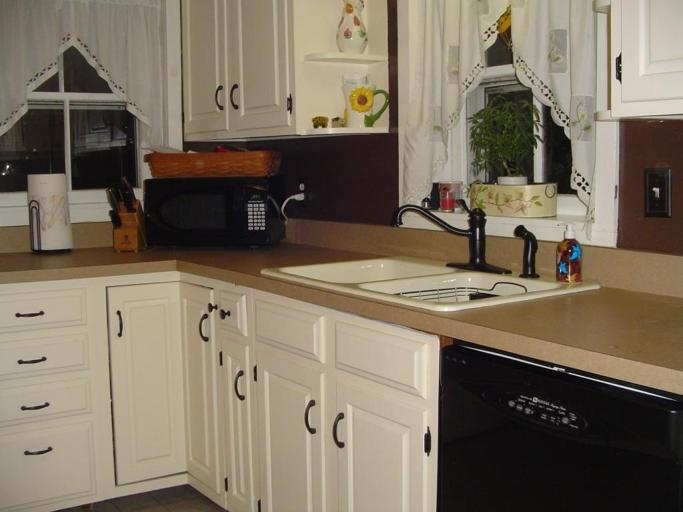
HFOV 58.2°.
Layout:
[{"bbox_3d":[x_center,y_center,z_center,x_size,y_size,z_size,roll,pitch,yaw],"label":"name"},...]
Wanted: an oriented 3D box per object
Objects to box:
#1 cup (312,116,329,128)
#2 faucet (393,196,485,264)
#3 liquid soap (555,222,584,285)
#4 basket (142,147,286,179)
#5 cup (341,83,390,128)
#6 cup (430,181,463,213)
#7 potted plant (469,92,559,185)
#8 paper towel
[{"bbox_3d":[-0.095,-0.583,2.676,0.054,0.045,0.054,0,3,0],"label":"cup"},{"bbox_3d":[0.350,-0.081,2.240,0.294,0.223,0.206,3,-1,-15],"label":"faucet"},{"bbox_3d":[0.728,-0.006,1.962,0.076,0.186,0.082,0,12,21],"label":"liquid soap"},{"bbox_3d":[-0.638,-0.433,3.090,0.468,0.117,0.265,-2,0,7],"label":"basket"},{"bbox_3d":[0.107,-0.654,2.703,0.198,0.230,0.130,9,12,32],"label":"cup"},{"bbox_3d":[0.442,-0.248,2.586,0.120,0.138,0.115,0,9,0],"label":"cup"},{"bbox_3d":[0.638,-0.456,2.412,0.305,0.345,0.290,1,14,28],"label":"potted plant"},{"bbox_3d":[-1.463,-0.206,3.059,0.201,0.400,0.167,-12,14,-30],"label":"paper towel"}]
